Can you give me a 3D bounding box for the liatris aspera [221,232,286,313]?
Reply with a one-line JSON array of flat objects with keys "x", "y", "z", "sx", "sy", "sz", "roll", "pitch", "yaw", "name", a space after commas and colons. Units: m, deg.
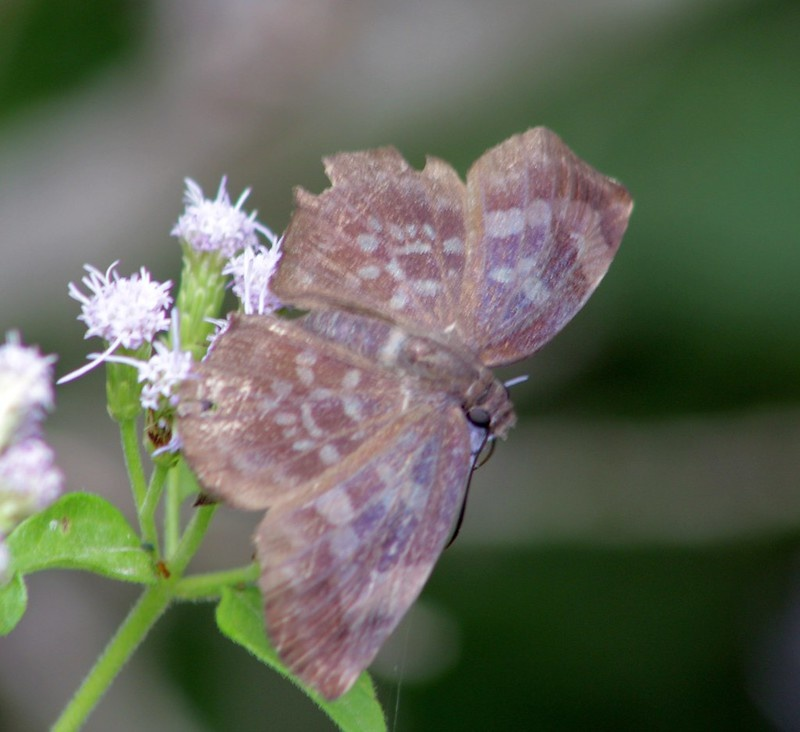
[{"x": -0.276, "y": -0.173, "z": 2.296, "sx": 0.117, "sy": 0.071, "sz": 0.146, "roll": -1, "pitch": 85, "yaw": 15, "name": "liatris aspera"}]
